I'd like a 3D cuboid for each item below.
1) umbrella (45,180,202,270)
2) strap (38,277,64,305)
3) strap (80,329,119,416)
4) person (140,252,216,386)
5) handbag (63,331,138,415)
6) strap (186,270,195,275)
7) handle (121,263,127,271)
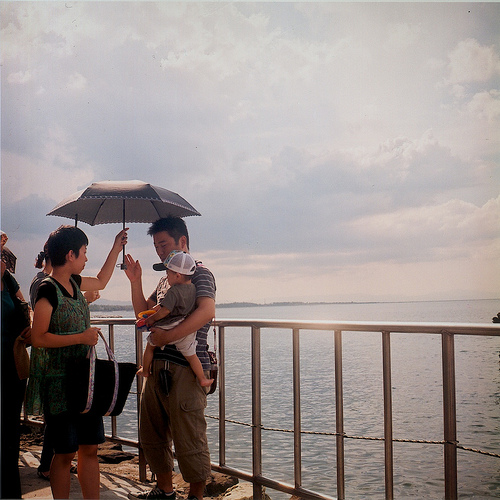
[{"bbox_3d":[-0.830,-0.173,3.920,0.902,0.517,0.957,-8,-3,6],"label":"umbrella"},{"bbox_3d":[-1.027,0.215,3.128,0.117,0.114,0.042,4,-1,-25],"label":"strap"},{"bbox_3d":[-0.842,0.669,3.335,0.197,0.483,0.340,1,-2,-15],"label":"strap"},{"bbox_3d":[-0.442,0.385,3.358,0.435,0.751,0.261,-1,-2,25],"label":"person"},{"bbox_3d":[-0.815,0.710,3.249,0.388,0.386,0.169,0,-2,-14],"label":"handbag"},{"bbox_3d":[-0.333,0.121,3.303,0.025,0.017,0.033,-2,-3,34],"label":"strap"},{"bbox_3d":[-0.804,0.106,3.794,0.034,0.066,0.038,-1,-7,1],"label":"handle"}]
